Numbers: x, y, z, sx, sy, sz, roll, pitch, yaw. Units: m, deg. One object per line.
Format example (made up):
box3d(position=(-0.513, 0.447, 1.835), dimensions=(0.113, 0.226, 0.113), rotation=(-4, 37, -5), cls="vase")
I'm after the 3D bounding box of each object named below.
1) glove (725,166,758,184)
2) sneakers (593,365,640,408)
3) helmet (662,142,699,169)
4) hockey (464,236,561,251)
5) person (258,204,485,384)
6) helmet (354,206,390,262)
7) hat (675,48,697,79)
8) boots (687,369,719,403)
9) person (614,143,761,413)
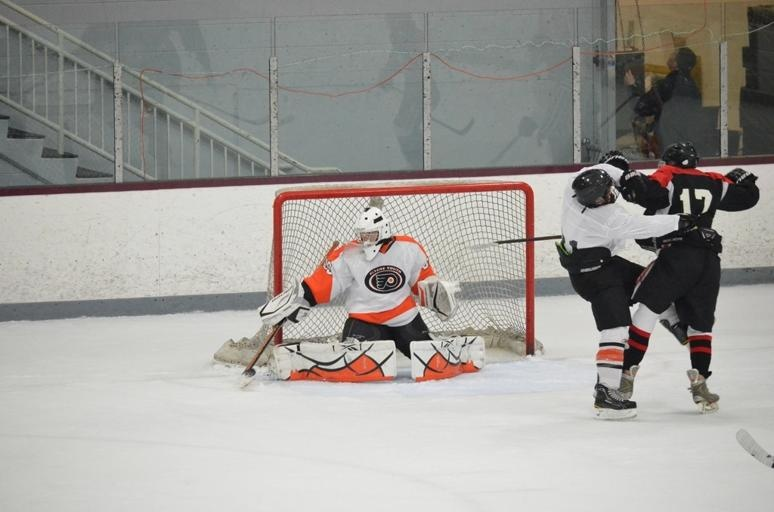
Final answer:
box3d(position=(2.511, -0.575, 7.552), dimensions=(0.167, 0.068, 0.153), rotation=(3, 6, 44), cls="glove")
box3d(position=(1.581, 0.912, 7.293), dimensions=(0.308, 0.302, 0.201), rotation=(2, -4, -3), cls="sneakers")
box3d(position=(2.135, -0.729, 7.619), dimensions=(0.188, 0.216, 0.223), rotation=(-19, 35, -24), cls="helmet")
box3d(position=(1.052, -0.120, 9.213), dimensions=(1.063, 0.098, 0.058), rotation=(-6, 37, -36), cls="hockey")
box3d(position=(-0.118, 0.291, 8.149), dimensions=(1.718, 1.164, 1.164), rotation=(-2, 11, -6), cls="person")
box3d(position=(-0.108, -0.209, 8.195), dimensions=(0.294, 0.371, 0.388), rotation=(-6, 18, 18), cls="helmet")
box3d(position=(2.942, -1.919, 10.411), dimensions=(0.141, 0.305, 0.197), rotation=(-15, 11, 34), cls="hat")
box3d(position=(2.202, 0.900, 7.321), dimensions=(0.326, 0.210, 0.108), rotation=(10, -18, -41), cls="boots")
box3d(position=(2.100, 0.113, 7.424), dimensions=(0.921, 1.890, 0.440), rotation=(1, -4, 12), cls="person")
